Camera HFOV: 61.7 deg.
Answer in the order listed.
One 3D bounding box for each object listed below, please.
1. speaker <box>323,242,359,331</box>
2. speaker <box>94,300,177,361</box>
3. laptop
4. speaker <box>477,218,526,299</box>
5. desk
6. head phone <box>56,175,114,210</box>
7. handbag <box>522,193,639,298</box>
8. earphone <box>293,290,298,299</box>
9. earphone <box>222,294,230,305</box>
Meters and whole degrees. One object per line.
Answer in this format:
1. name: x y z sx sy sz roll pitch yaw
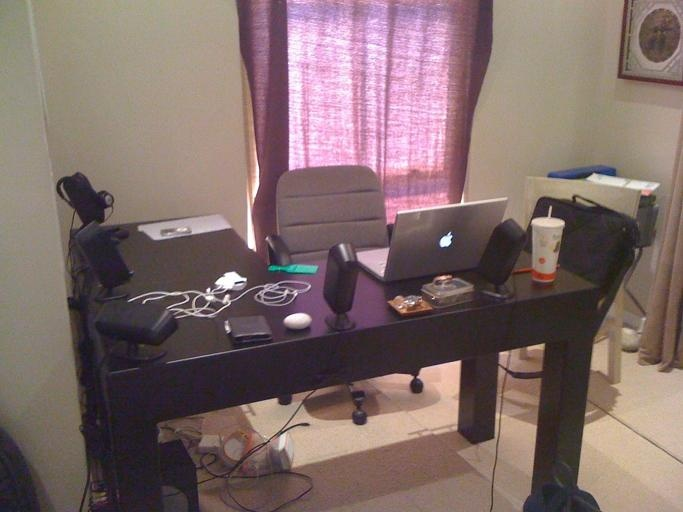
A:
1. speaker: -0.005 0.095 2.030 0.120 0.277 0.206 -1 23 -3
2. speaker: -0.694 0.228 1.930 0.273 0.192 0.178 5 16 3
3. laptop: 0.373 -0.115 2.229 0.426 0.283 0.410 -6 22 -20
4. speaker: 0.618 0.012 2.237 0.194 0.290 0.204 -11 20 -12
5. desk: -0.091 0.434 2.367 2.002 1.132 1.008 -3 23 -7
6. head phone: -1.233 -0.307 2.714 0.194 0.167 0.144 -6 24 -14
7. handbag: 1.167 -0.053 2.745 0.200 0.405 0.411 -11 31 -38
8. earphone: -0.181 0.155 2.235 0.020 0.027 0.021 0 7 -26
9. earphone: -0.440 0.167 2.196 0.022 0.036 0.035 6 -2 -10
